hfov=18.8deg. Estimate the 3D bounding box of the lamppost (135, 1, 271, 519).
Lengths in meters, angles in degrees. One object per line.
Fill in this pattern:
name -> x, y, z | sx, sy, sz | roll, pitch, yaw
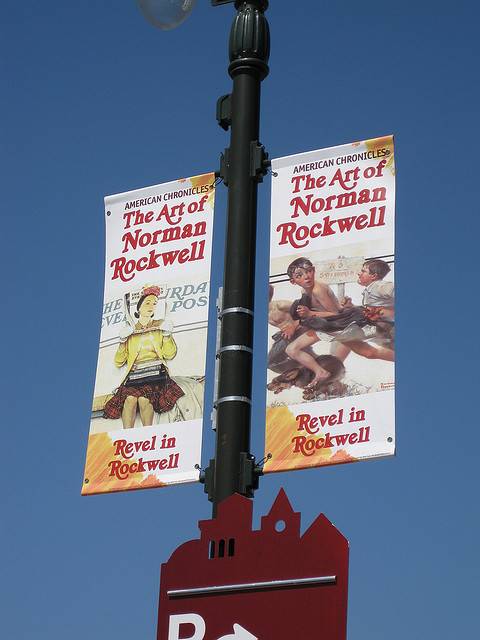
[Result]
lamppost -> -0.153, -0.545, 9.052 | 0.660, 3.670, 0.626 | 2, -17, 0
